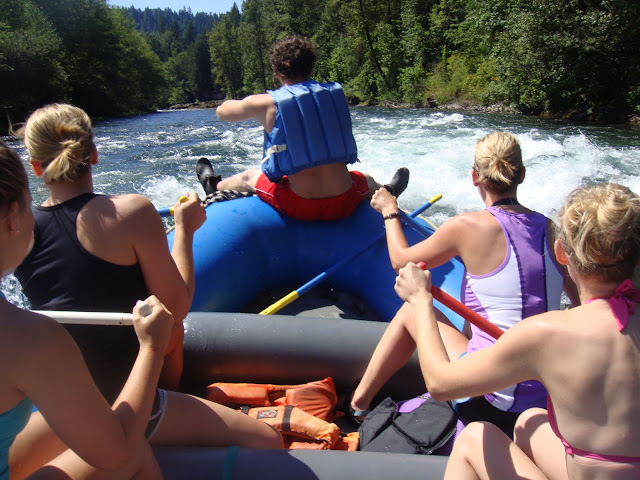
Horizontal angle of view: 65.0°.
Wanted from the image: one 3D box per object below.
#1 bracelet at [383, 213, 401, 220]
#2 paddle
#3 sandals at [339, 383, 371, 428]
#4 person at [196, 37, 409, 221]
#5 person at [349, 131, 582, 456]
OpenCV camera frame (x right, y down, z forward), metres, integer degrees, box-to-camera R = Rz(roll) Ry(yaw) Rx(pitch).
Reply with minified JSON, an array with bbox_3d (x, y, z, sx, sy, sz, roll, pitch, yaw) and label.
[{"bbox_3d":[0.372,-0.124,2.534,0.060,0.038,0.062,-8,2,35],"label":"bracelet"},{"bbox_3d":[0.227,0.061,3.102,1.419,0.063,0.097,-35,68,-10],"label":"paddle"},{"bbox_3d":[0.159,0.775,2.373,0.130,0.177,0.057,9,4,40],"label":"sandals"},{"bbox_3d":[-0.225,-0.853,3.747,1.348,1.137,1.270,6,20,29],"label":"person"},{"bbox_3d":[0.715,0.267,2.398,0.806,1.510,1.081,-1,11,-44],"label":"person"}]
